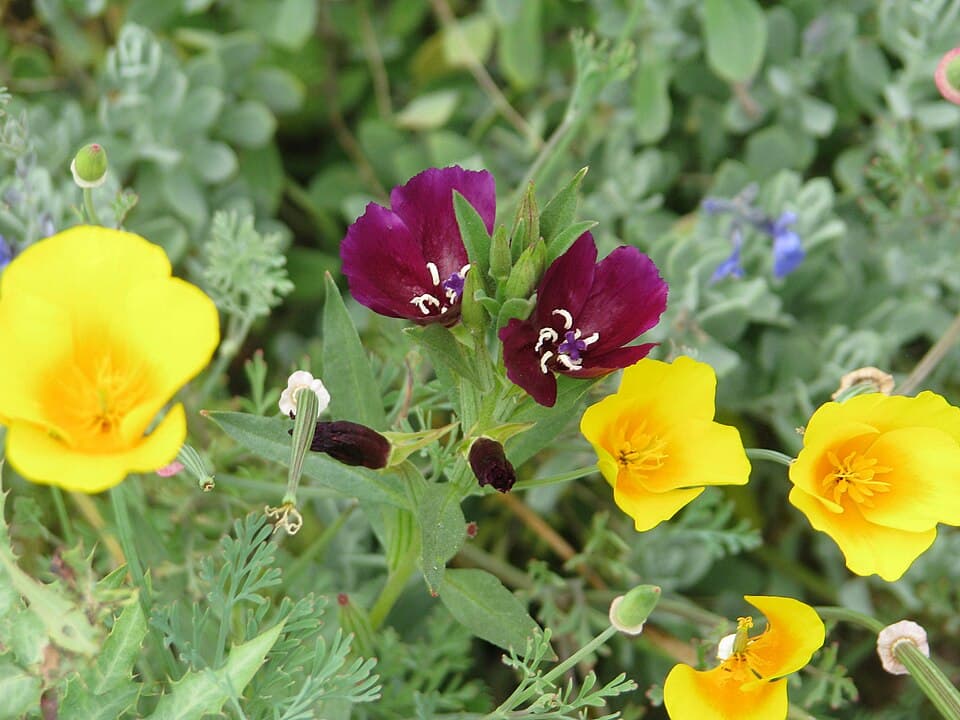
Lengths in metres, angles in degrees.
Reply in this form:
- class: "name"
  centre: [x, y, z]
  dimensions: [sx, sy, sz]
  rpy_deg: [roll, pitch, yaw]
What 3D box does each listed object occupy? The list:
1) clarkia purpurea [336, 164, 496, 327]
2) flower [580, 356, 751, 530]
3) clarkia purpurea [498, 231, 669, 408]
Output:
- class: "clarkia purpurea"
  centre: [-0.061, -0.116, 0.899]
  dimensions: [0.142, 0.110, 0.132]
  rpy_deg: [8, 48, -13]
- class: "flower"
  centre: [0.178, 0.092, 0.949]
  dimensions: [0.164, 0.072, 0.167]
  rpy_deg: [-34, 83, -3]
- class: "clarkia purpurea"
  centre: [0.094, -0.025, 0.870]
  dimensions: [0.125, 0.125, 0.156]
  rpy_deg: [29, 47, 7]
